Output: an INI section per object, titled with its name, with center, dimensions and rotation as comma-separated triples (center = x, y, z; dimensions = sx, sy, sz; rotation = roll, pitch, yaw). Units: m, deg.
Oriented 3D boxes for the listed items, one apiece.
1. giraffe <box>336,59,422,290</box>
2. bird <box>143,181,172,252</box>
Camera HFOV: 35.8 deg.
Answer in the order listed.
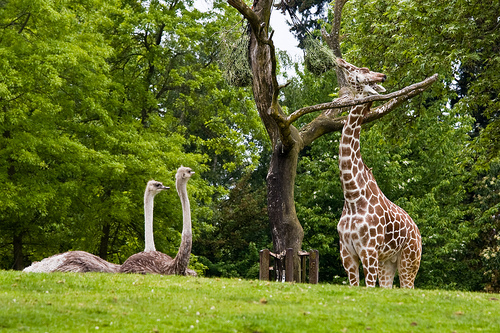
[giraffe]
center = 4.684, 0.724, 28.232
dimensions = 2.937, 9.142, 1.775
rotation = 6, -6, -32
[bird]
center = -4.067, 2.117, 33.733
dimensions = 1.054, 3.293, 1.078
rotation = 3, 4, 9
